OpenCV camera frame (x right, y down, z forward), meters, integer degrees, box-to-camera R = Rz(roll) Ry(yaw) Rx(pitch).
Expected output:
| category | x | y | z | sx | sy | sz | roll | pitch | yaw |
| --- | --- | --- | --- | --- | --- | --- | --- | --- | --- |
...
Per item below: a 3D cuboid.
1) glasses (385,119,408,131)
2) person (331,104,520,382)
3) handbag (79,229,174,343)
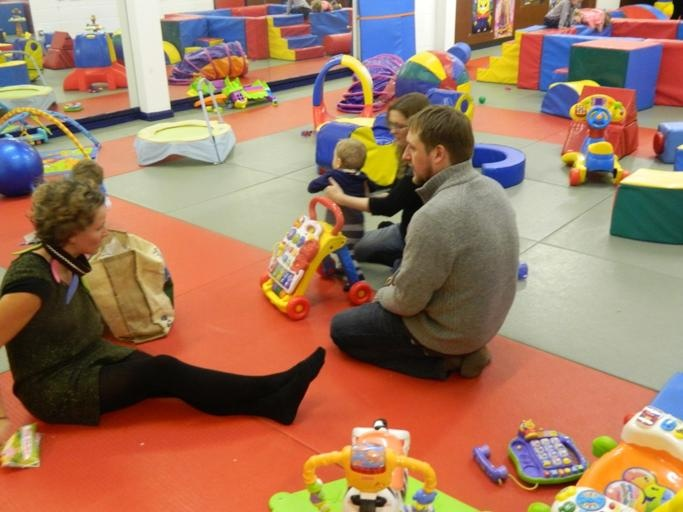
| category | x | y | z | sx | sy | sz | roll | pitch | yaw |
| --- | --- | --- | --- | --- | --- | --- | --- | --- | --- |
| glasses | 0.373 | -0.884 | 3.561 | 0.108 | 0.035 | 0.104 | -16 | 24 | -39 |
| person | 0.518 | -0.113 | 3.250 | 1.114 | 1.486 | 1.077 | 5 | 23 | 17 |
| handbag | -1.382 | 0.193 | 3.463 | 0.547 | 0.702 | 0.282 | -31 | 21 | -35 |
